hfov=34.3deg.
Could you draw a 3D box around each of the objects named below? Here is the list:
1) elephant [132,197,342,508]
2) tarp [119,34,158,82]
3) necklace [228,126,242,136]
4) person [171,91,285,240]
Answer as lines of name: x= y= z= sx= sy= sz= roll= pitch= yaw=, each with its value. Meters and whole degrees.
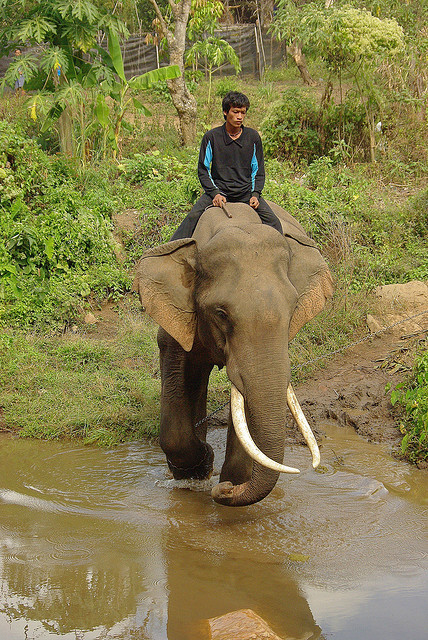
elephant: x=0.119 y=0.191 z=4.259 sx=1.065 sy=1.557 sz=2.616 roll=0 pitch=6 yaw=-3
tarp: x=-1.950 y=-6.866 z=18.114 sx=0.923 sy=1.131 sz=0.692 roll=-1 pitch=13 yaw=-8
necklace: x=0.126 y=-1.169 z=4.272 sx=0.053 sy=0.048 sz=0.012 roll=-4 pitch=25 yaw=-11
person: x=0.147 y=-0.914 z=4.280 sx=0.726 sy=0.906 sz=0.508 roll=5 pitch=26 yaw=8
